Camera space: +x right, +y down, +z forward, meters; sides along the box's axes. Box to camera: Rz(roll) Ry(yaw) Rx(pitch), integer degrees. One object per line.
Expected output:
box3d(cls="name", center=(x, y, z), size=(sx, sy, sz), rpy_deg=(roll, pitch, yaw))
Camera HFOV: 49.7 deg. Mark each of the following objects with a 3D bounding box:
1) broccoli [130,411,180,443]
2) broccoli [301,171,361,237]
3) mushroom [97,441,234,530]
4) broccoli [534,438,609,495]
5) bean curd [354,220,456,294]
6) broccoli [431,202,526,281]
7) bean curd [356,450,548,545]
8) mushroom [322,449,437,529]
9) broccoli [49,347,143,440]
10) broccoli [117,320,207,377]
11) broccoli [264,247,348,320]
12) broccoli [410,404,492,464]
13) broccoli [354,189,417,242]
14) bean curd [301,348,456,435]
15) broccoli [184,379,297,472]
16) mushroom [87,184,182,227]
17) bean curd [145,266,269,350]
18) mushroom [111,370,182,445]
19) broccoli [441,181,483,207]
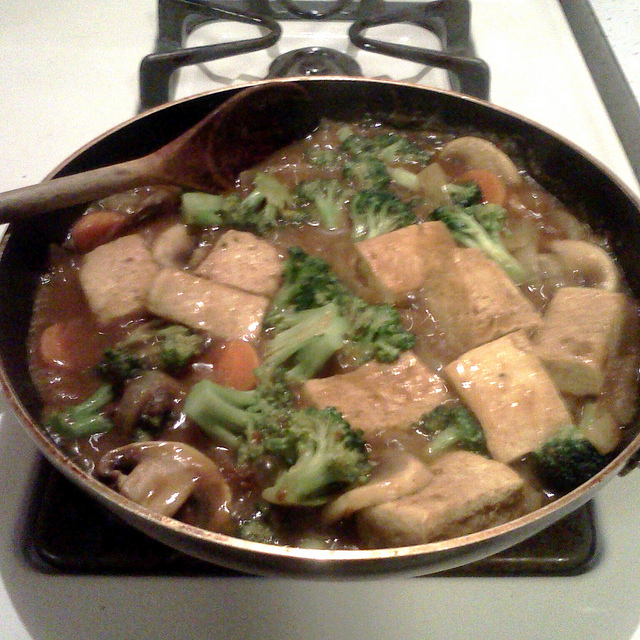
box3d(cls="broccoli", center=(-0.380, 0.248, 1.600), size=(0.096, 0.022, 0.067), rpy_deg=(-32, 61, -17))
box3d(cls="broccoli", center=(0.037, -0.347, 2.077), size=(0.212, 0.045, 0.198), rpy_deg=(1, 56, 1))
box3d(cls="mushroom", center=(-0.327, 0.348, 1.520), size=(0.310, 0.069, 0.153), rpy_deg=(23, 68, 9))
box3d(cls="broccoli", center=(0.563, 0.325, 1.566), size=(0.157, 0.075, 0.150), rpy_deg=(2, 31, 11))
box3d(cls="bean curd", center=(0.238, -0.151, 1.881), size=(0.332, 0.062, 0.181), rpy_deg=(-14, 69, -14))
box3d(cls="broccoli", center=(0.444, -0.210, 2.003), size=(0.226, 0.066, 0.258), rpy_deg=(-19, 51, -20))
box3d(cls="bean curd", center=(0.274, 0.383, 1.465), size=(0.437, 0.087, 0.178), rpy_deg=(-14, 70, -11))
box3d(cls="mushroom", center=(0.130, 0.360, 1.597), size=(0.094, 0.272, 0.251), rpy_deg=(44, 85, -3))
box3d(cls="broccoli", center=(-0.541, 0.188, 1.685), size=(0.180, 0.083, 0.286), rpy_deg=(4, 58, 52))
box3d(cls="broccoli", center=(-0.397, 0.077, 1.737), size=(0.190, 0.044, 0.151), rpy_deg=(19, 49, 17))
box3d(cls="broccoli", center=(-0.036, -0.090, 1.860), size=(0.237, 0.069, 0.159), rpy_deg=(-7, 67, 3))
box3d(cls="broccoli", center=(0.312, 0.247, 1.644), size=(0.192, 0.054, 0.158), rpy_deg=(33, 35, -24))
box3d(cls="broccoli", center=(0.171, -0.302, 1.969), size=(0.209, 0.048, 0.156), rpy_deg=(-10, 29, 14))
box3d(cls="bean curd", center=(0.153, 0.192, 1.671), size=(0.209, 0.060, 0.310), rpy_deg=(-27, 28, -37))
box3d(cls="broccoli", center=(-0.205, 0.216, 1.605), size=(0.094, 0.336, 0.256), rpy_deg=(-8, 71, 35))
box3d(cls="mushroom", center=(-0.510, -0.335, 1.996), size=(0.274, 0.050, 0.108), rpy_deg=(-12, 55, -10))
box3d(cls="bean curd", center=(-0.276, -0.086, 1.964), size=(0.260, 0.059, 0.475), rpy_deg=(-15, 15, 28))
box3d(cls="mushroom", center=(-0.401, 0.204, 1.607), size=(0.151, 0.051, 0.160), rpy_deg=(25, 75, -28))
box3d(cls="broccoli", center=(0.420, -0.367, 2.023), size=(0.102, 0.025, 0.086), rpy_deg=(17, 50, 23))
